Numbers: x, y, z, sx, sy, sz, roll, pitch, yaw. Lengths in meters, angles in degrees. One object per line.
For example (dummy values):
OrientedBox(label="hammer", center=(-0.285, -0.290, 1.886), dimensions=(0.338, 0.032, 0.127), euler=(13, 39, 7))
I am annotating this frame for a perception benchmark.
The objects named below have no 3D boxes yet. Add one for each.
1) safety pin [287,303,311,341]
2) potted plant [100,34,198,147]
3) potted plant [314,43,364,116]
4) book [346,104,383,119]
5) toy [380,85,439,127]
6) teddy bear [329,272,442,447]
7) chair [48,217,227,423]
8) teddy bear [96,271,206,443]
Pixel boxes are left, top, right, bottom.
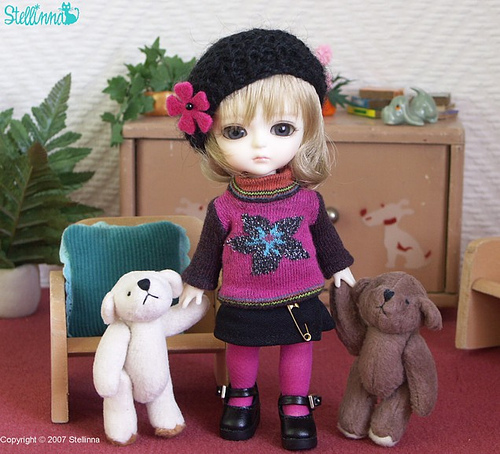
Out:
OrientedBox(label="safety pin", center=(0.096, 0.192, 1.081), dimensions=(0.028, 0.103, 0.006), euler=(-29, 7, -22))
OrientedBox(label="potted plant", center=(-0.345, -0.497, 1.924), dimensions=(0.351, 0.156, 0.272), euler=(3, 0, -43))
OrientedBox(label="potted plant", center=(0.254, -0.487, 1.767), dimensions=(0.222, 0.220, 0.209), euler=(-2, 8, -12))
OrientedBox(label="book", center=(0.412, -0.417, 1.889), dimensions=(0.092, 0.022, 0.097), euler=(7, 7, 25))
OrientedBox(label="toy", center=(0.528, -0.399, 1.712), dimensions=(0.189, 0.127, 0.129), euler=(-4, 26, 4))
OrientedBox(label="teddy bear", center=(0.262, 0.263, 1.066), dimensions=(0.238, 0.336, 0.137), euler=(4, 11, 20))
OrientedBox(label="chair", center=(-0.248, 0.200, 1.280), dimensions=(0.397, 0.446, 0.456), euler=(0, -5, -5))
OrientedBox(label="teddy bear", center=(-0.197, 0.258, 1.047), dimensions=(0.102, 0.335, 0.239), euler=(10, 14, 42))
